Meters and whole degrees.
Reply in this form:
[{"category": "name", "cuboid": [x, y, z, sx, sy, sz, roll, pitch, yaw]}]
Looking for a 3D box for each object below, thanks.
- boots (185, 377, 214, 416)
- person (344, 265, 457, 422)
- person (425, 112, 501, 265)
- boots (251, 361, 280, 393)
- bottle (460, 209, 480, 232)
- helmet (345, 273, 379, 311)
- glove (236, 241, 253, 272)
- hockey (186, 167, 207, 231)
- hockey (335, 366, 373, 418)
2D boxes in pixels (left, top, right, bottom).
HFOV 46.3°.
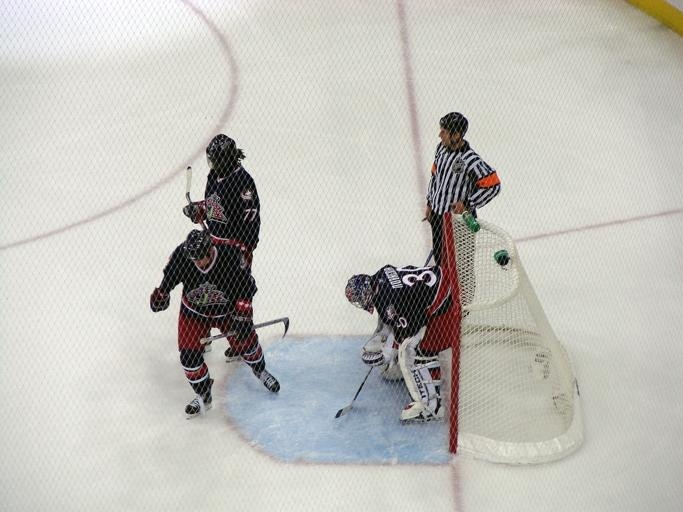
[{"category": "boots", "cuboid": [-0.856, 0.838, 4.759, 0.082, 0.213, 0.202, 11, 22, 40]}, {"category": "person", "cuboid": [0.359, 0.492, 4.706, 0.590, 0.606, 0.795, -5, 47, -8]}, {"category": "person", "cuboid": [0.804, -0.504, 5.252, 0.410, 0.784, 0.458, -6, 45, -9]}, {"category": "boots", "cuboid": [-0.475, 0.754, 4.943, 0.053, 0.072, 0.183, -36, 85, -1]}, {"category": "bottle", "cuboid": [0.763, -0.217, 4.749, 0.081, 0.093, 0.227, -12, 29, -8]}, {"category": "helmet", "cuboid": [0.098, 0.198, 4.856, 0.208, 0.235, 0.235, 2, -3, 33]}, {"category": "glove", "cuboid": [-0.580, -0.006, 4.838, 0.029, 0.142, 0.131, -9, -6, 21]}, {"category": "hockey", "cuboid": [-0.965, -0.375, 5.297, 0.059, 0.559, 0.060, -9, 4, 1]}, {"category": "hockey", "cuboid": [0.081, 0.836, 4.836, 0.044, 0.038, 0.381, 41, 48, -5]}]
